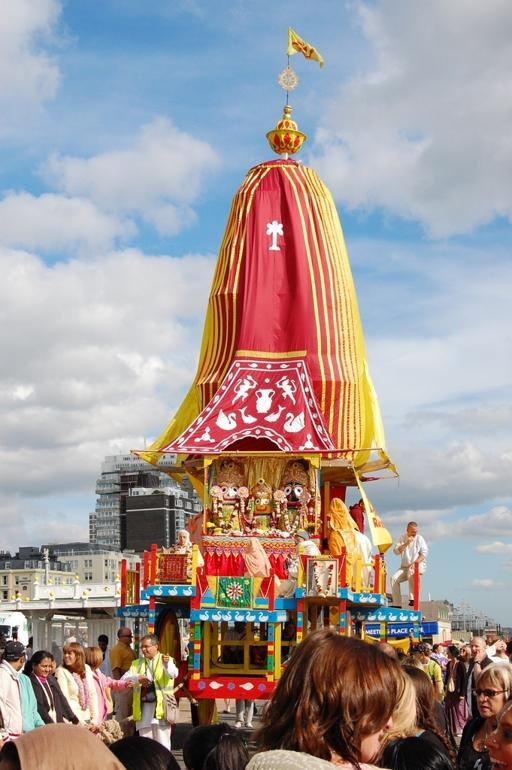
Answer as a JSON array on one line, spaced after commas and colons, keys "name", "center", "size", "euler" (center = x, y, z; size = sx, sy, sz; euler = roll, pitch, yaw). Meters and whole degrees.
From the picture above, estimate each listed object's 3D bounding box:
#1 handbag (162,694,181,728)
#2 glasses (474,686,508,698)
[{"name": "handbag", "center": [-0.763, 2.750, 13.176], "size": [0.079, 0.244, 0.190], "euler": [-10, -13, 27]}, {"name": "glasses", "center": [1.238, 1.680, 8.565], "size": [0.112, 0.055, 0.213], "euler": [3, -8, -28]}]
